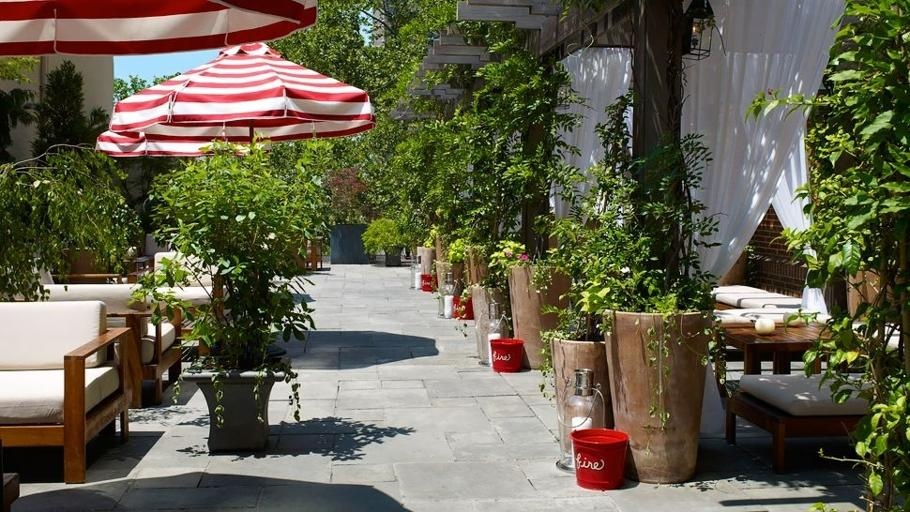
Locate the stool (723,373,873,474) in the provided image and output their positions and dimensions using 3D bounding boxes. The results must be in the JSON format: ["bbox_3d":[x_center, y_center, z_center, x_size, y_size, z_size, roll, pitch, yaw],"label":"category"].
[{"bbox_3d":[3.037,1.391,6.535,1.149,0.517,0.821,2,6,-12],"label":"stool"}]

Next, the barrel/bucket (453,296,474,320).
[{"bbox_3d":[0.149,0.792,11.584,0.338,0.262,0.339,0,-4,0],"label":"barrel/bucket"}]

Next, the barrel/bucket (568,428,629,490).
[{"bbox_3d":[1.078,1.586,5.971,0.450,0.330,0.421,-1,-7,0],"label":"barrel/bucket"}]

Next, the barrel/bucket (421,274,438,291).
[{"bbox_3d":[-0.520,0.536,15.037,0.313,0.265,0.359,1,-5,-5],"label":"barrel/bucket"}]

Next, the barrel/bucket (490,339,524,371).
[{"bbox_3d":[0.589,1.140,8.653,0.440,0.330,0.416,-1,-2,0],"label":"barrel/bucket"}]

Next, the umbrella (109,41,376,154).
[{"bbox_3d":[-2.528,-1.721,8.771,2.341,1.004,2.382,-4,11,14],"label":"umbrella"}]
